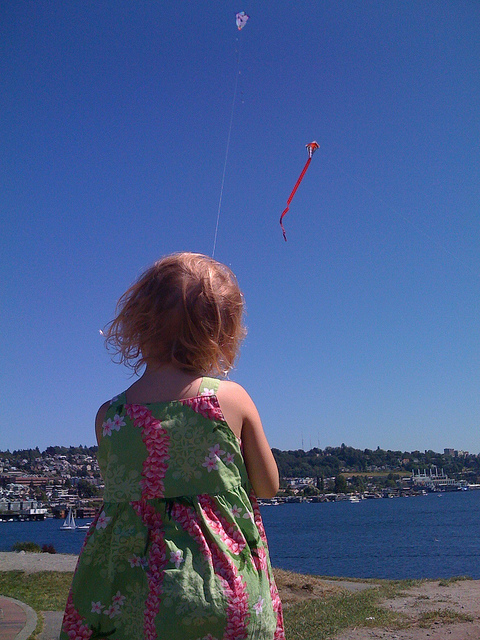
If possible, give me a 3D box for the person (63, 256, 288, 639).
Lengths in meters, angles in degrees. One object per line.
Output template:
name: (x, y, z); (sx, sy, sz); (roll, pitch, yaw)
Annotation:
person: (-0.150, 0.277, 1.538); (0.496, 0.924, 0.294); (0, -11, 4)
